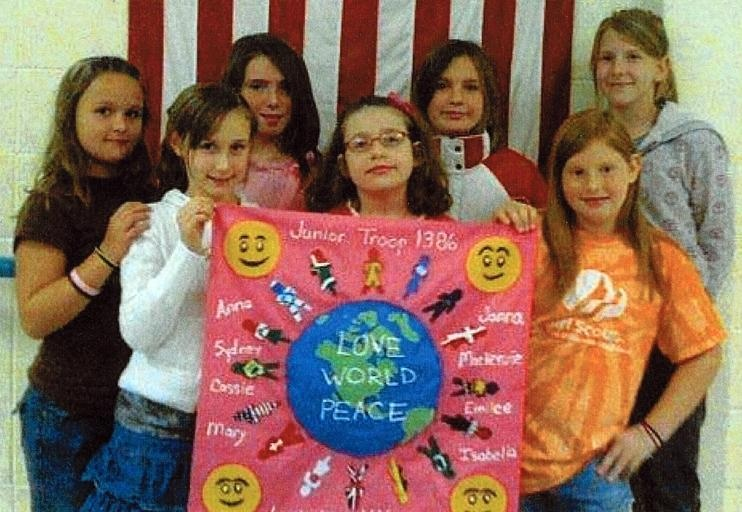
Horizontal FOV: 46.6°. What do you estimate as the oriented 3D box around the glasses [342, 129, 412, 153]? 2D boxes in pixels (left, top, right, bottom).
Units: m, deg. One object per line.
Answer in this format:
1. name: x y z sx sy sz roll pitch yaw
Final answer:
1. glasses: 0.029 -0.616 4.644 0.332 0.133 0.056 3 11 -2
